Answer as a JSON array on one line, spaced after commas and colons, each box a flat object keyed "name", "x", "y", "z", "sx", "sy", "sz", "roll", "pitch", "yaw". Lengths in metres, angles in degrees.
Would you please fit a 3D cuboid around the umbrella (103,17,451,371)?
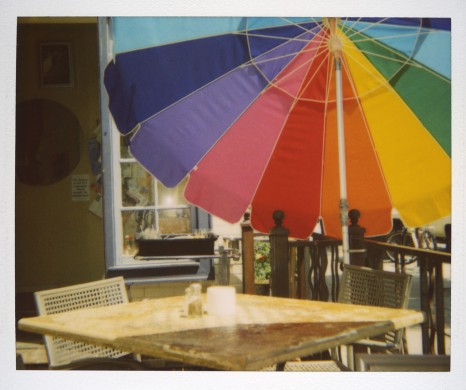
[{"name": "umbrella", "x": 0.327, "y": -0.096, "z": 3.662, "sx": 2.070, "sy": 2.424, "sz": 1.025, "roll": 4, "pitch": 7, "yaw": 1}]

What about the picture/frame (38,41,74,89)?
[{"name": "picture/frame", "x": -1.672, "y": -1.209, "z": 4.636, "sx": 0.375, "sy": 0.576, "sz": 0.038, "roll": -1, "pitch": 0, "yaw": -7}]

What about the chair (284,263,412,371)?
[{"name": "chair", "x": 0.872, "y": 0.854, "z": 3.607, "sx": 0.628, "sy": 1.140, "sz": 0.577, "roll": 14, "pitch": -11, "yaw": -28}]
